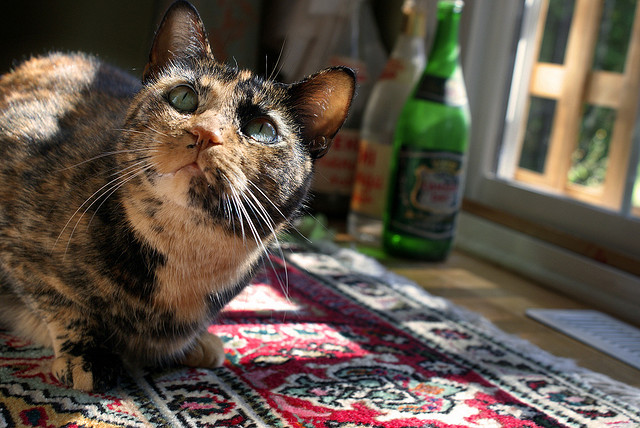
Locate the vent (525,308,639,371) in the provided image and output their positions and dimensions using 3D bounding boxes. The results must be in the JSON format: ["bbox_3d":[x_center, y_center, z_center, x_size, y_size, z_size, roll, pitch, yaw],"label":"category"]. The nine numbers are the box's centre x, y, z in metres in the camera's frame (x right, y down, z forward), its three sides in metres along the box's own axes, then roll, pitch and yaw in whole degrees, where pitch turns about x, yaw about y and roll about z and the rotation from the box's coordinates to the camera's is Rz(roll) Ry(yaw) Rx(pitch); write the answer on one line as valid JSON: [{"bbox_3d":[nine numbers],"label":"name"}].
[{"bbox_3d":[0.569,0.243,1.225,0.244,0.076,0.062,18,20,38],"label":"vent"}]
